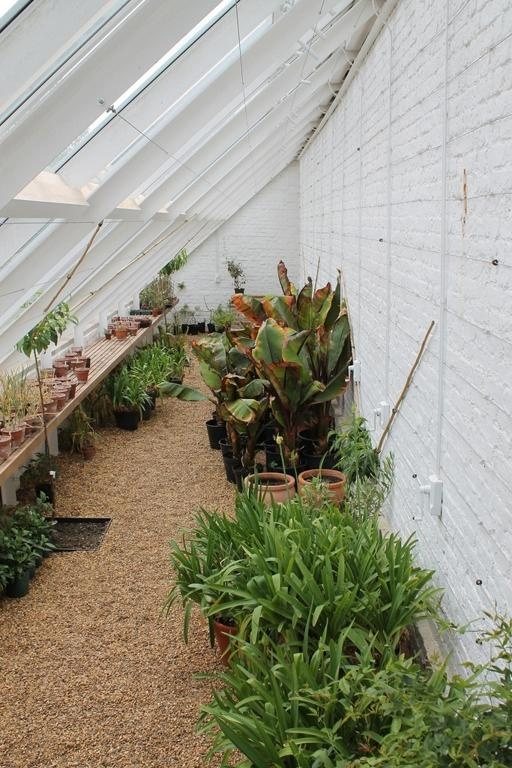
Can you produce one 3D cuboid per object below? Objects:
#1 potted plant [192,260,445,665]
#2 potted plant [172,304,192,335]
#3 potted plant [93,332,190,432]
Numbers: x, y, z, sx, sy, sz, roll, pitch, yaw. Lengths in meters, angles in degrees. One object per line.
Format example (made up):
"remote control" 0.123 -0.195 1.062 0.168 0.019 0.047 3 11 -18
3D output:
"potted plant" 0.456 -0.095 4.859 1.753 2.032 1.873 0 7 -10
"potted plant" -1.970 -1.774 13.402 0.552 0.715 1.929 -3 10 -7
"potted plant" -1.676 -0.107 7.171 0.638 0.746 1.957 5 19 6
